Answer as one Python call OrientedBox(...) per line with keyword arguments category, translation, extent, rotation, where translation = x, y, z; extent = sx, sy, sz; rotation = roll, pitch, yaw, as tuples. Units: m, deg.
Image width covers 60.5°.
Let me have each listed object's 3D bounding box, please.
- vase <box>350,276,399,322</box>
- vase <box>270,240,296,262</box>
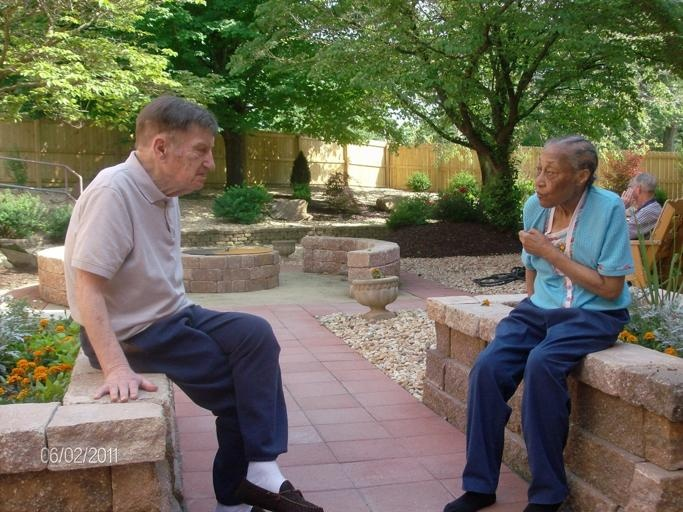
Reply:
OrientedBox(category="vase", translation=(0.376, 0.518, 7.117), extent=(0.539, 0.405, 0.538), rotation=(0, -3, -17))
OrientedBox(category="vase", translation=(-1.257, -0.113, 12.882), extent=(0.448, 0.309, 0.434), rotation=(0, 0, 34))
